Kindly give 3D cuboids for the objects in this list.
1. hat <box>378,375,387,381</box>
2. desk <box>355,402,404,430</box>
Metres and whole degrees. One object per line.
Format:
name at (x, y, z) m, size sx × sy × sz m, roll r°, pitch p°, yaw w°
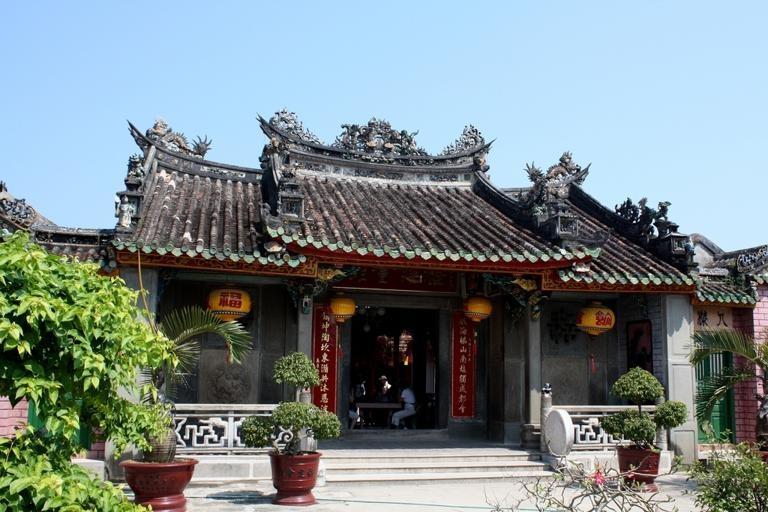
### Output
hat at (-0.019, 2.570, 19.125) m, size 0.169 × 0.069 × 0.217 m, roll -1°, pitch -7°, yaw 0°
desk at (-0.099, 3.214, 18.397) m, size 0.917 × 0.537 × 0.460 m, roll 0°, pitch -22°, yaw -2°
